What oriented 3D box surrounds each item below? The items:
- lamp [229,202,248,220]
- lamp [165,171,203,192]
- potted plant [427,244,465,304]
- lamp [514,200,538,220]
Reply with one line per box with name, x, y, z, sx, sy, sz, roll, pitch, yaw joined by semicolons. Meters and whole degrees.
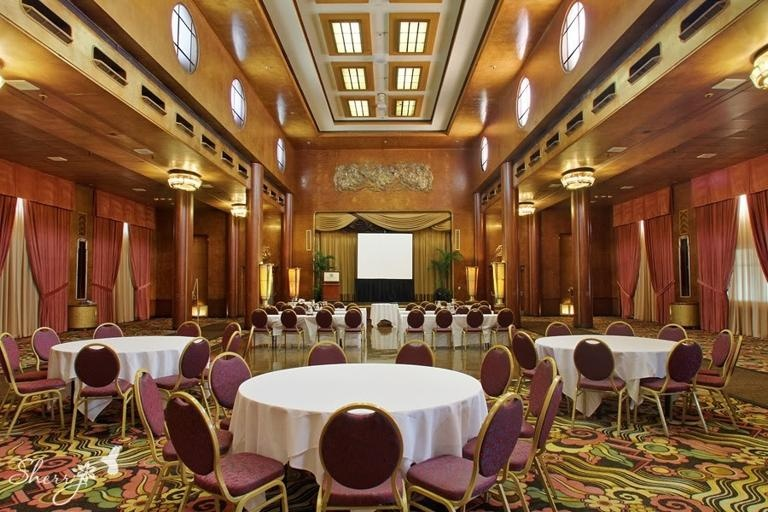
lamp;-4.731;-1.474;15.945;0.734;0.456;0.743;0;-4;2
lamp;-4.984;-1.912;12.316;0.694;0.478;0.454;4;-8;-31
potted plant;2.329;0.648;19.531;1.820;2.483;1.738;3;-8;-11
lamp;4.437;-1.486;15.813;0.883;0.432;0.894;0;-3;-2
